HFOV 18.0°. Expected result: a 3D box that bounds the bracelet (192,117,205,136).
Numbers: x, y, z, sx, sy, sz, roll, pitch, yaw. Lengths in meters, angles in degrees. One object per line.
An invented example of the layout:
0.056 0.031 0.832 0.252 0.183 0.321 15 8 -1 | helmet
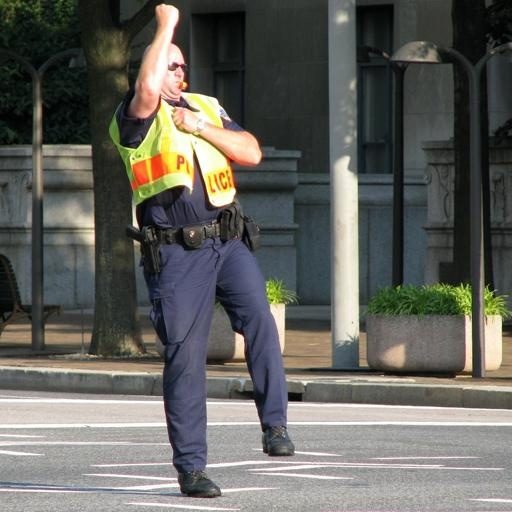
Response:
-0.376 -0.895 10.960 0.066 0.110 0.110 3 9 -17 | bracelet

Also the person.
-0.369 -0.069 11.131 0.663 3.350 1.172 -2 0 43 | person

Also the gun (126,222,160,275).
-0.752 -0.064 10.975 0.146 0.361 0.168 -8 9 -37 | gun

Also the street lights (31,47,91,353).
-2.444 -0.677 18.914 0.421 3.559 0.675 -2 0 22 | street lights
